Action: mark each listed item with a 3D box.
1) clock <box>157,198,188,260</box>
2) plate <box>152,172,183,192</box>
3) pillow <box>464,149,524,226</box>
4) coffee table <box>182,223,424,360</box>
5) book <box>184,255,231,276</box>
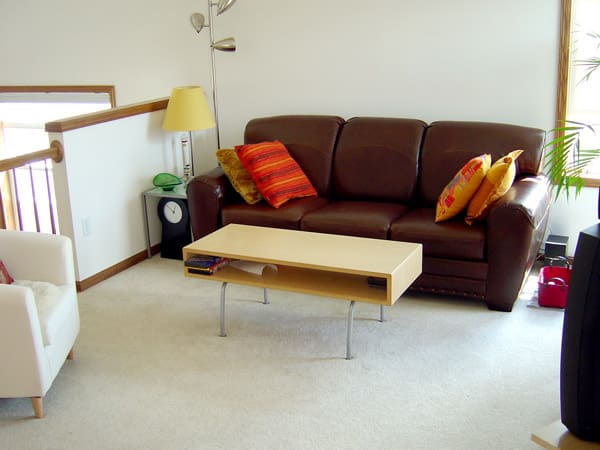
[{"bbox_3d":[-1.145,0.026,4.350,0.396,0.565,0.115,5,17,25],"label":"clock"},{"bbox_3d":[-1.191,-0.379,4.305,0.150,0.072,0.203,8,15,8],"label":"plate"},{"bbox_3d":[1.292,-0.243,3.326,0.122,0.438,0.407,26,1,-3],"label":"pillow"},{"bbox_3d":[0.013,0.295,3.135,1.432,0.379,0.557,4,17,20],"label":"coffee table"},{"bbox_3d":[-0.636,0.251,3.151,0.164,0.056,0.129,5,14,23],"label":"book"}]
